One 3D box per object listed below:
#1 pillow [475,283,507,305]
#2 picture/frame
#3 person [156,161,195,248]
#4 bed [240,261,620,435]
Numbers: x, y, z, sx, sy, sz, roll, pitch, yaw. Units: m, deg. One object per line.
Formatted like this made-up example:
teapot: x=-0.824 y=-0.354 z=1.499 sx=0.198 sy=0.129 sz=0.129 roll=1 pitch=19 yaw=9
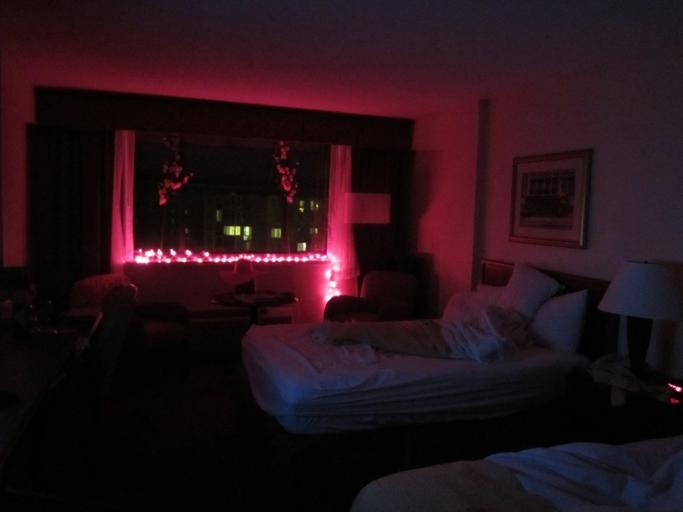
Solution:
pillow: x=1.379 y=0.341 z=4.772 sx=0.169 sy=0.072 sz=0.178 roll=-6 pitch=34 yaw=27
picture/frame: x=1.895 y=-0.514 z=4.599 sx=0.064 sy=0.958 sz=0.908 roll=1 pitch=2 yaw=-23
person: x=-2.024 y=-0.639 z=6.340 sx=0.423 sy=1.050 sz=0.165 roll=-4 pitch=14 yaw=-17
bed: x=0.653 y=0.580 z=4.071 sx=1.917 sy=0.869 sz=1.277 roll=0 pitch=1 yaw=-14
